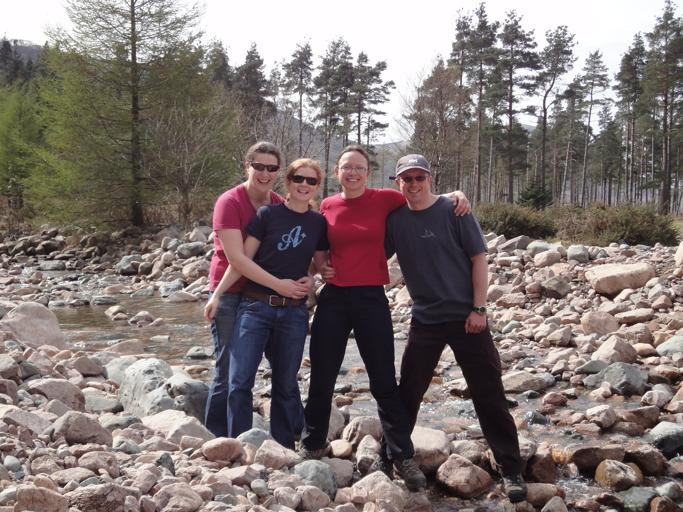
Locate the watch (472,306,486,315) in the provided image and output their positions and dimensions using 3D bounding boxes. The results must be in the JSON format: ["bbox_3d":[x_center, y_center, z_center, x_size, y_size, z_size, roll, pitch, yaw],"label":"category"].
[{"bbox_3d":[1.431,0.568,6.953,0.099,0.069,0.099,2,-10,-17],"label":"watch"}]
